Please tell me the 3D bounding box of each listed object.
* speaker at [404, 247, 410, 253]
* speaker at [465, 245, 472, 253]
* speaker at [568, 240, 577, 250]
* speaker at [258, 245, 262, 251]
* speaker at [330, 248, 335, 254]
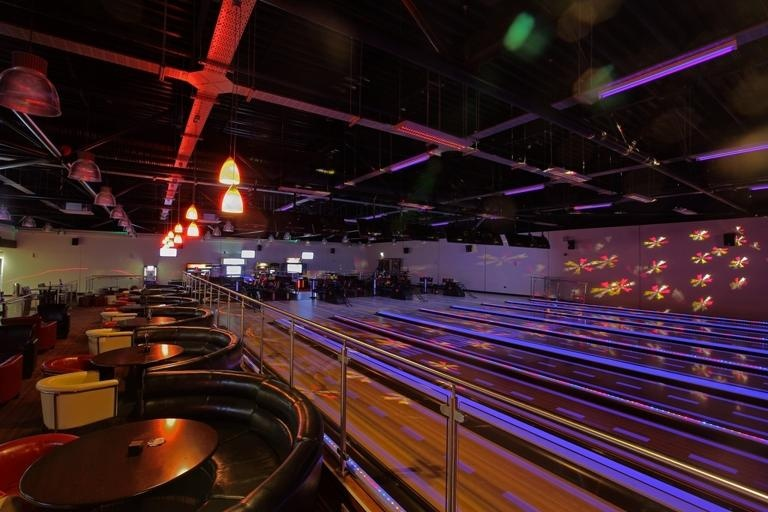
[{"bbox_3d":[1.269,-0.333,26.778,0.330,0.306,0.172,3,5,28],"label":"speaker"},{"bbox_3d":[4.181,-0.360,23.052,0.185,0.314,0.341,9,-12,-34],"label":"speaker"},{"bbox_3d":[7.501,-0.446,18.592,0.223,0.382,0.403,-2,5,-25],"label":"speaker"},{"bbox_3d":[-6.824,-0.423,25.477,0.317,0.291,0.229,2,6,31],"label":"speaker"},{"bbox_3d":[-3.183,-0.299,28.554,0.097,0.337,0.403,5,8,36],"label":"speaker"}]
